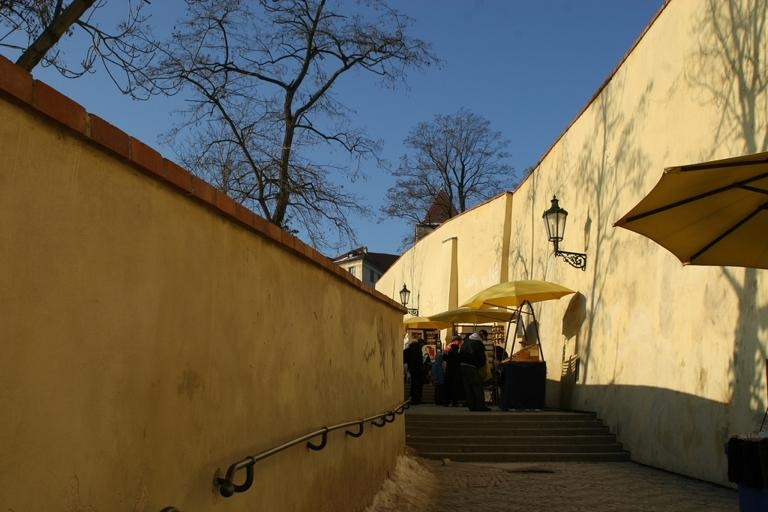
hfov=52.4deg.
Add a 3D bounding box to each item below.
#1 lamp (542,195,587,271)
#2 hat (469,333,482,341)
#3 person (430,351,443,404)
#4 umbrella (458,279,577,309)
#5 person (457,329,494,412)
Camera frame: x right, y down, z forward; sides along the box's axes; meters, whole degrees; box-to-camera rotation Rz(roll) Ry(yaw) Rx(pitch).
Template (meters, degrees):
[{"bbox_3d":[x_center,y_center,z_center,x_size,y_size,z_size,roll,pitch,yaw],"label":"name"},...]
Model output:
[{"bbox_3d":[3.737,-0.499,16.206,0.863,1.573,0.523,3,-13,2],"label":"lamp"},{"bbox_3d":[1.863,1.657,16.052,0.219,0.208,0.505,9,-12,7],"label":"hat"},{"bbox_3d":[1.347,3.027,19.425,0.375,1.314,1.606,7,-11,4],"label":"person"},{"bbox_3d":[3.031,0.793,17.630,1.413,0.751,2.624,17,-13,-28],"label":"umbrella"},{"bbox_3d":[1.897,2.370,16.301,0.713,1.712,1.454,7,-10,9],"label":"person"}]
